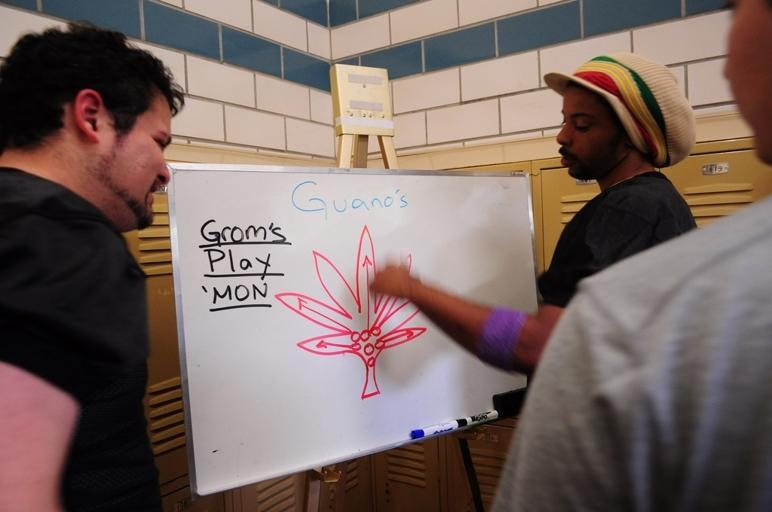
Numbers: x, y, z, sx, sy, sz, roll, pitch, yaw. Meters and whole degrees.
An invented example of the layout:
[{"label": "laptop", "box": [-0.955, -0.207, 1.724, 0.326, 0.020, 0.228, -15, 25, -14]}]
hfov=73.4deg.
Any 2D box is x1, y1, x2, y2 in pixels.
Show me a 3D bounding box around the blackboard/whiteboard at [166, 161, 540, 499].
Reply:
[{"label": "blackboard/whiteboard", "box": [-0.099, 0.152, 1.260, 0.963, 0.719, 0.035, -4, 2, -25]}]
